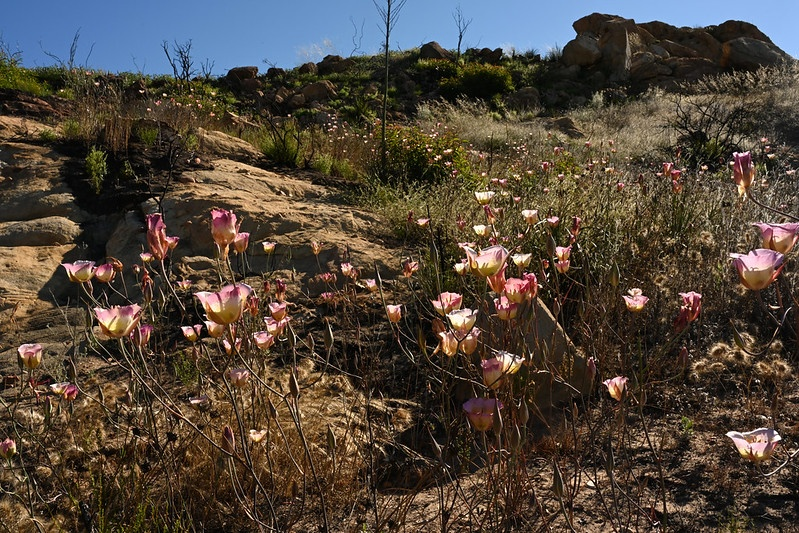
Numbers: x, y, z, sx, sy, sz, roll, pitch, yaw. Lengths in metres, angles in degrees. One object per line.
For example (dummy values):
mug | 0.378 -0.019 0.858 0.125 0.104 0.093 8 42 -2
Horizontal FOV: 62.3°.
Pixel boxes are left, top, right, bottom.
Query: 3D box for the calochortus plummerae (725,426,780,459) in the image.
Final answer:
calochortus plummerae | 2.213 1.105 4.134 0.233 0.185 0.235 -2 -5 -32
